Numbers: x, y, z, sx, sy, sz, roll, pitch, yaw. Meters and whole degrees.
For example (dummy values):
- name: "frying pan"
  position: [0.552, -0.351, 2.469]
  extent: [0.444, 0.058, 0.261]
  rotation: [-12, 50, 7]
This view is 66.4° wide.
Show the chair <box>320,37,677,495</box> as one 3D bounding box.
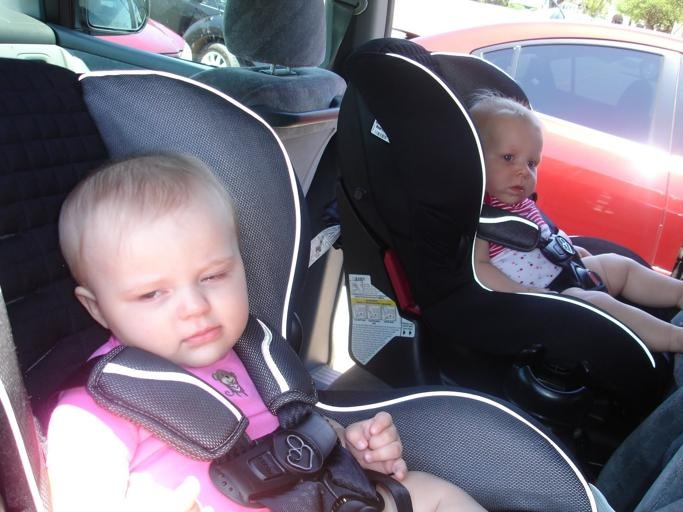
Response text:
- name: "chair"
  position: [0.541, -0.252, 2.033]
  extent: [1.158, 1.395, 1.104]
  rotation: [8, 28, 31]
